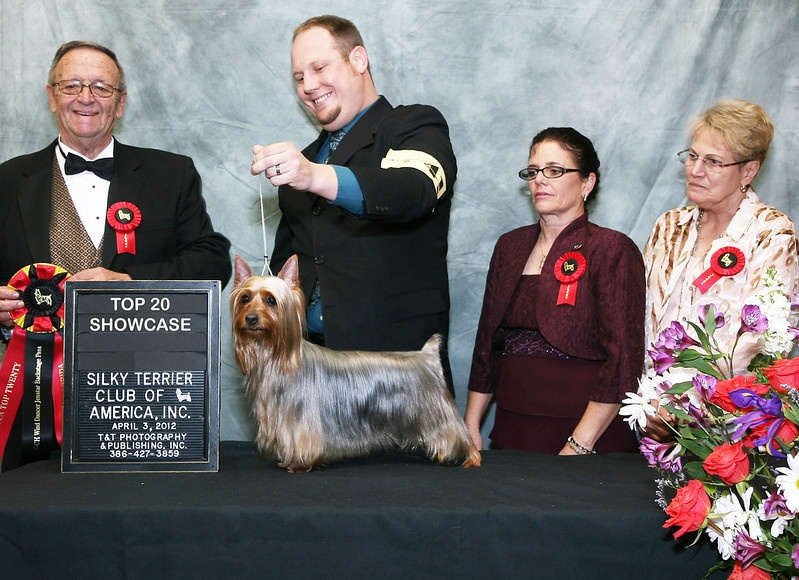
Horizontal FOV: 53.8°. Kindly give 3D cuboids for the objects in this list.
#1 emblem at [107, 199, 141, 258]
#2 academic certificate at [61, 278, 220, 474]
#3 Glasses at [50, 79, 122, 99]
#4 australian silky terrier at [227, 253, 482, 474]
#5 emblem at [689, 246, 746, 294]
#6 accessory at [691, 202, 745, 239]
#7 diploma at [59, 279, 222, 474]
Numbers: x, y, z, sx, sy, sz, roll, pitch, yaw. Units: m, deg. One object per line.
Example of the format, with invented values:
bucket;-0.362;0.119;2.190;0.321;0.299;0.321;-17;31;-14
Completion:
emblem;-1.344;-0.300;3.855;0.153;0.240;0.109;-2;14;-20
academic certificate;-0.995;0.359;3.020;0.740;0.836;0.059;0;-6;-4
Glasses;-1.516;-0.973;3.818;0.281;0.078;0.078;-1;14;-20
australian silky terrier;-0.180;0.326;3.235;1.054;0.769;0.441;3;3;-29
emblem;1.527;-0.104;3.731;0.222;0.213;0.132;4;11;16
accessory;1.535;-0.344;3.910;0.131;0.171;0.081;14;-7;33
diploma;-0.994;0.355;3.021;0.739;0.836;0.063;-1;-6;-4
